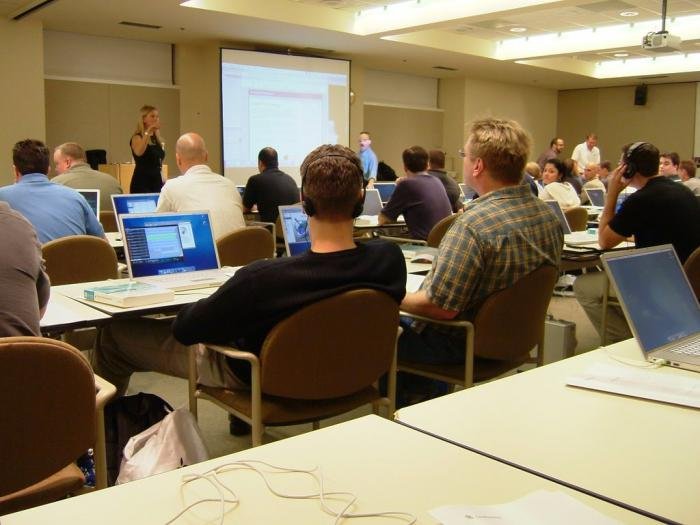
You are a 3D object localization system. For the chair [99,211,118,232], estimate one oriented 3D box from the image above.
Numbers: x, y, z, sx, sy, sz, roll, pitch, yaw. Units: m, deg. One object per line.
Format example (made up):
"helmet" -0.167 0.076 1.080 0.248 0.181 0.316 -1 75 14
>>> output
"chair" -1.982 -0.349 4.580 0.147 0.225 0.169 -8 15 -41

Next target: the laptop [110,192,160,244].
"laptop" -1.229 -0.261 3.178 0.104 0.301 0.427 4 10 20

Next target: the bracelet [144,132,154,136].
"bracelet" -2.203 -1.404 6.053 0.072 0.050 0.129 -3 11 -20

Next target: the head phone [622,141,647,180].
"head phone" 1.772 -0.623 3.450 0.079 0.198 0.220 10 24 39

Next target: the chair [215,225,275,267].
"chair" -0.659 -0.080 3.586 0.270 0.370 0.293 -12 25 -34

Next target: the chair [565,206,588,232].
"chair" 2.133 -0.416 5.232 0.203 0.239 0.262 -1 13 1

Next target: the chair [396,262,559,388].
"chair" 0.625 0.208 2.544 0.541 0.718 0.572 -8 13 -41

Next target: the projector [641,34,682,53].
"projector" 3.919 -2.761 6.946 0.467 0.207 0.346 -8 13 -43

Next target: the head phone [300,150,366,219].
"head phone" -0.056 -0.240 1.890 0.218 0.310 0.235 2 5 2

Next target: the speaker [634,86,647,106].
"speaker" 7.196 -4.143 13.677 0.291 0.462 0.208 5 11 26

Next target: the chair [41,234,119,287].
"chair" -1.458 -0.049 2.989 0.241 0.347 0.272 -7 16 -34

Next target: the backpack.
"backpack" -0.813 0.641 2.042 0.260 0.275 0.214 -9 -4 -34
